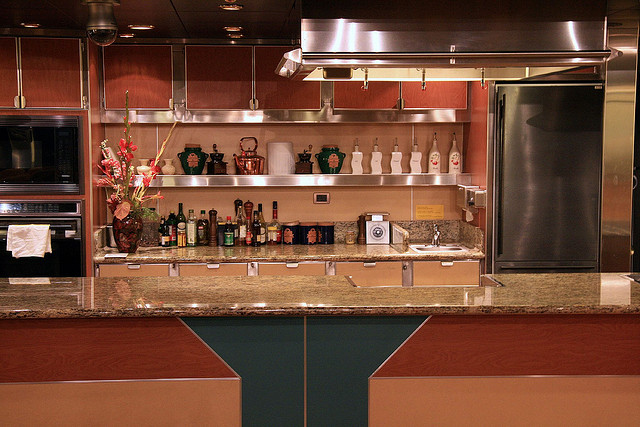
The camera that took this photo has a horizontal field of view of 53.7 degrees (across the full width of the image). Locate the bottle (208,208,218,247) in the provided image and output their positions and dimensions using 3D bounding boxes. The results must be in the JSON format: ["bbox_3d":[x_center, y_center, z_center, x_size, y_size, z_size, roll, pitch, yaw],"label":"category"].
[{"bbox_3d":[-1.020,0.144,6.007,0.090,0.344,0.138,-3,3,-9],"label":"bottle"}]

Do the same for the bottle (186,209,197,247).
[{"bbox_3d":[-1.210,0.153,5.990,0.096,0.327,0.119,-2,3,-1],"label":"bottle"}]

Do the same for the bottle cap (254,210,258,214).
[{"bbox_3d":[-0.618,-0.012,6.127,0.028,0.023,0.026,2,3,17],"label":"bottle cap"}]

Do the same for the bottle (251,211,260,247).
[{"bbox_3d":[-0.602,0.172,6.008,0.095,0.283,0.092,-2,3,0],"label":"bottle"}]

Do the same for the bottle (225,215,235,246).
[{"bbox_3d":[-0.856,0.174,5.998,0.090,0.270,0.173,-2,3,-5],"label":"bottle"}]

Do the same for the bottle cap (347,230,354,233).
[{"bbox_3d":[0.309,0.181,6.284,0.063,0.027,0.016,-2,3,-16],"label":"bottle cap"}]

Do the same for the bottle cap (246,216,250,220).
[{"bbox_3d":[-0.696,0.044,6.128,0.051,0.039,0.025,0,8,0],"label":"bottle cap"}]

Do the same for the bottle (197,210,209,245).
[{"bbox_3d":[-1.105,0.140,6.041,0.100,0.313,0.124,-2,3,7],"label":"bottle"}]

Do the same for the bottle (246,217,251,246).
[{"bbox_3d":[-0.682,0.176,6.062,0.053,0.260,0.203,-3,3,-7],"label":"bottle"}]

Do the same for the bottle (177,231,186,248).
[{"bbox_3d":[-1.296,0.244,5.950,0.076,0.149,0.042,-2,3,-8],"label":"bottle"}]

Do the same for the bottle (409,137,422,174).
[{"bbox_3d":[0.942,-0.575,6.218,0.127,0.355,0.166,-2,3,7],"label":"bottle"}]

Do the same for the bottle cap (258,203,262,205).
[{"bbox_3d":[-0.580,-0.086,6.149,0.022,0.033,0.022,-1,-5,40],"label":"bottle cap"}]

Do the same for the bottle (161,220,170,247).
[{"bbox_3d":[-1.453,0.196,5.969,0.064,0.245,0.089,-2,3,7],"label":"bottle"}]

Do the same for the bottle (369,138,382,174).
[{"bbox_3d":[0.543,-0.563,6.135,0.124,0.355,0.274,-2,3,5],"label":"bottle"}]

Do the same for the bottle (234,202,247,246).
[{"bbox_3d":[-0.763,0.103,6.046,0.117,0.410,0.161,-3,3,-8],"label":"bottle"}]

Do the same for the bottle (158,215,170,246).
[{"bbox_3d":[-1.493,0.170,6.018,0.096,0.278,0.192,-4,4,-26],"label":"bottle"}]

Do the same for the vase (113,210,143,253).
[{"bbox_3d":[-1.707,0.165,5.640,0.245,0.390,0.140,-3,3,-15],"label":"vase"}]

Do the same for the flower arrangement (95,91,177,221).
[{"bbox_3d":[-1.690,-0.522,5.810,0.727,1.218,0.720,-3,3,-12],"label":"flower arrangement"}]

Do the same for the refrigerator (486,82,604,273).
[{"bbox_3d":[1.923,-0.305,5.421,0.955,1.647,0.261,-2,3,-4],"label":"refrigerator"}]

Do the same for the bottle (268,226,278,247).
[{"bbox_3d":[-0.445,0.220,6.021,0.096,0.179,0.052,-2,3,-6],"label":"bottle"}]

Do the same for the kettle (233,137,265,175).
[{"bbox_3d":[-0.704,-0.558,6.051,0.307,0.333,0.389,8,13,28],"label":"kettle"}]

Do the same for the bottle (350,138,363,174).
[{"bbox_3d":[0.355,-0.563,6.146,0.127,0.354,0.209,-2,3,2],"label":"bottle"}]

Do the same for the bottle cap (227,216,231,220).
[{"bbox_3d":[-0.867,0.045,6.050,0.036,0.030,0.032,1,5,3],"label":"bottle cap"}]

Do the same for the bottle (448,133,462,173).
[{"bbox_3d":[1.324,-0.598,6.193,0.095,0.393,0.173,-1,4,21],"label":"bottle"}]

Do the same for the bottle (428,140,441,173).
[{"bbox_3d":[1.121,-0.565,6.223,0.115,0.324,0.126,-2,3,0],"label":"bottle"}]

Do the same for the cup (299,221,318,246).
[{"bbox_3d":[-0.109,0.194,6.099,0.145,0.215,0.097,0,4,32],"label":"cup"}]

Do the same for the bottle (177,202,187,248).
[{"bbox_3d":[-1.305,0.113,5.994,0.100,0.407,0.145,-3,3,-12],"label":"bottle"}]

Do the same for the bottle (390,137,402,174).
[{"bbox_3d":[0.741,-0.568,6.155,0.118,0.361,0.268,-2,3,7],"label":"bottle"}]

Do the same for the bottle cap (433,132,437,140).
[{"bbox_3d":[1.136,-0.770,6.247,0.032,0.069,0.019,-4,4,-34],"label":"bottle cap"}]

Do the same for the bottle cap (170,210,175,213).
[{"bbox_3d":[-1.415,-0.017,6.065,0.039,0.019,0.034,0,-1,2],"label":"bottle cap"}]
